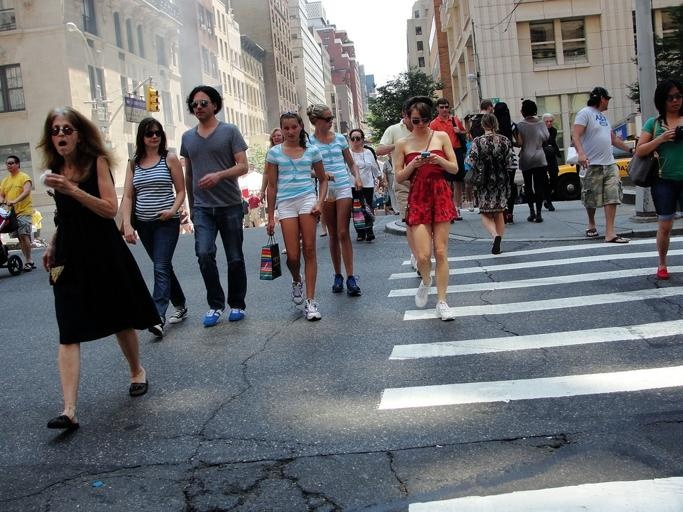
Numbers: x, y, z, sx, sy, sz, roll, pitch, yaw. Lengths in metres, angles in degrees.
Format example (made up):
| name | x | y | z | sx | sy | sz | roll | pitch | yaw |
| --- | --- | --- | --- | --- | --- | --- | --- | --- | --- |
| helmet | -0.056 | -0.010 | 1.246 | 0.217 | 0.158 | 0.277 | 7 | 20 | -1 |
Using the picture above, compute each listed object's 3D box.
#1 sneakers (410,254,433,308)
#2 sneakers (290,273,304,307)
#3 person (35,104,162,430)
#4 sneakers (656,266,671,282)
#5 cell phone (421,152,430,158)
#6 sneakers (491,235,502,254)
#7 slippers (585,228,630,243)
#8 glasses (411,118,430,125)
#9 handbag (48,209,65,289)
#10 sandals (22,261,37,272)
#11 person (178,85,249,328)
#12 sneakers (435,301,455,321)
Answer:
| name | x | y | z | sx | sy | sz | roll | pitch | yaw |
| --- | --- | --- | --- | --- | --- | --- | --- | --- | --- |
| sneakers | 0.912 | 0.332 | 6.886 | 0.209 | 0.681 | 0.272 | 0 | 6 | 3 |
| sneakers | -0.537 | 0.438 | 7.358 | 0.145 | 0.414 | 0.186 | -5 | 4 | -1 |
| person | -1.948 | 0.035 | 4.530 | 0.544 | 2.316 | 0.984 | 1 | 11 | 31 |
| sneakers | 3.973 | 0.219 | 7.344 | 0.099 | 0.123 | 0.292 | -3 | -3 | 14 |
| cell phone | 0.903 | -1.082 | 6.340 | 0.094 | 0.065 | 0.052 | -9 | 10 | -19 |
| sneakers | 2.590 | -0.183 | 9.947 | 0.147 | 0.318 | 0.136 | 3 | 2 | 5 |
| slippers | 4.569 | -0.332 | 10.290 | 0.269 | 0.181 | 0.680 | -6 | 6 | -33 |
| glasses | 0.877 | -1.468 | 6.463 | 0.246 | 0.089 | 0.100 | -13 | 12 | -37 |
| handbag | -2.177 | -0.051 | 4.520 | 0.130 | 0.557 | 0.318 | -10 | 11 | -25 |
| sandals | -7.187 | 0.265 | 13.652 | 0.155 | 0.186 | 0.437 | 0 | -3 | -1 |
| person | -1.424 | -0.613 | 7.027 | 0.767 | 2.744 | 0.720 | -8 | 10 | -15 |
| sneakers | 1.118 | 0.606 | 6.407 | 0.104 | 0.122 | 0.266 | -4 | 2 | -10 |
